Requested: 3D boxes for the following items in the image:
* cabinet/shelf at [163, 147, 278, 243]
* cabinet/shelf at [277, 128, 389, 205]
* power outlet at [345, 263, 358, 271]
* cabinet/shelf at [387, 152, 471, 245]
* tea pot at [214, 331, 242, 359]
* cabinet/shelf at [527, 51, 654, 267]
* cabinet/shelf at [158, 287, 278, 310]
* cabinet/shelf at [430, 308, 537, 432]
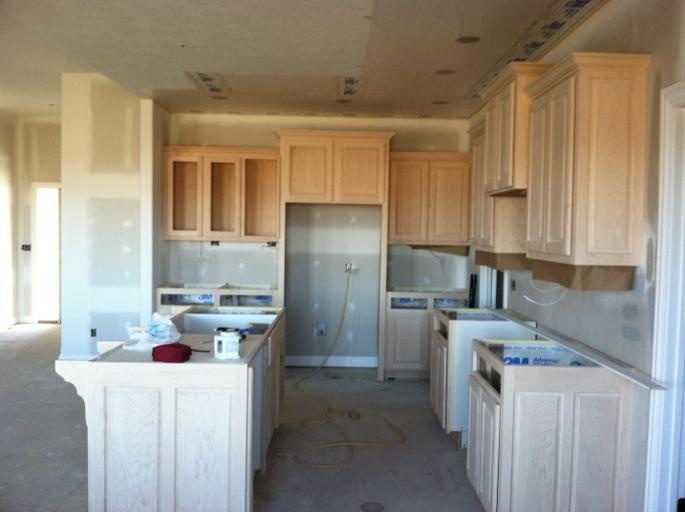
[{"bbox_3d":[-1.408,-0.708,6.358,1.220,0.903,0.376,1,3,-5],"label":"cabinet/shelf"},{"bbox_3d":[-0.114,-0.967,6.116,0.920,0.529,0.282,0,1,-1],"label":"cabinet/shelf"},{"bbox_3d":[0.100,0.136,6.751,0.144,0.110,0.039,1,14,0],"label":"power outlet"},{"bbox_3d":[0.982,-0.675,6.325,1.176,1.209,0.656,1,0,2],"label":"cabinet/shelf"},{"bbox_3d":[-0.732,0.561,3.613,0.223,0.193,0.128,1,1,7],"label":"tea pot"},{"bbox_3d":[1.639,-0.620,3.822,0.585,1.386,0.721,1,14,1],"label":"cabinet/shelf"},{"bbox_3d":[-1.394,0.463,6.190,1.330,0.234,0.200,3,14,7],"label":"cabinet/shelf"},{"bbox_3d":[1.332,1.047,5.348,1.011,1.248,1.348,1,5,3],"label":"cabinet/shelf"}]
